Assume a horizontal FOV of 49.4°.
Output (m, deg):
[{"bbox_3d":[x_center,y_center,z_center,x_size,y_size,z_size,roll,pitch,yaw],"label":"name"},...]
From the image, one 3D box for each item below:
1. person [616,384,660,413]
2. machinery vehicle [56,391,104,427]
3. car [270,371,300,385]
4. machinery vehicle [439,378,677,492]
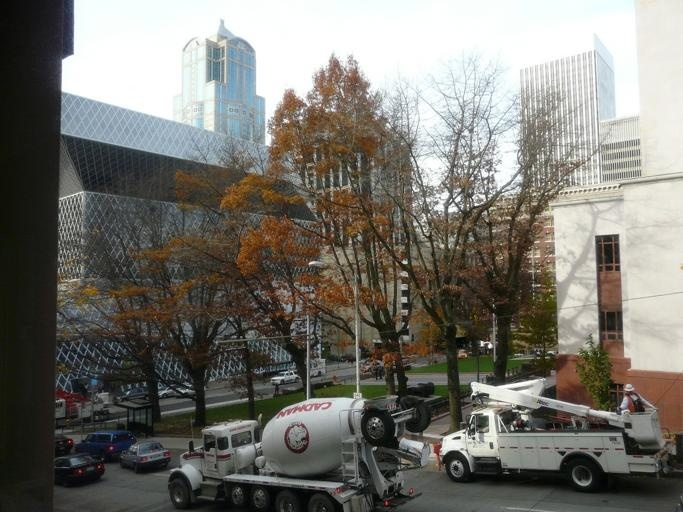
[{"bbox_3d":[10.002,4.954,25.554,0.870,0.916,1.441,-6,-6,27],"label":"person"},{"bbox_3d":[-20.197,11.536,56.136,1.841,2.082,5.620,-3,-6,33],"label":"machinery vehicle"},{"bbox_3d":[-5.602,12.023,72.602,3.216,1.456,1.906,9,-14,-40],"label":"car"},{"bbox_3d":[7.178,6.882,28.501,9.777,4.673,3.354,-6,-16,32],"label":"machinery vehicle"}]
